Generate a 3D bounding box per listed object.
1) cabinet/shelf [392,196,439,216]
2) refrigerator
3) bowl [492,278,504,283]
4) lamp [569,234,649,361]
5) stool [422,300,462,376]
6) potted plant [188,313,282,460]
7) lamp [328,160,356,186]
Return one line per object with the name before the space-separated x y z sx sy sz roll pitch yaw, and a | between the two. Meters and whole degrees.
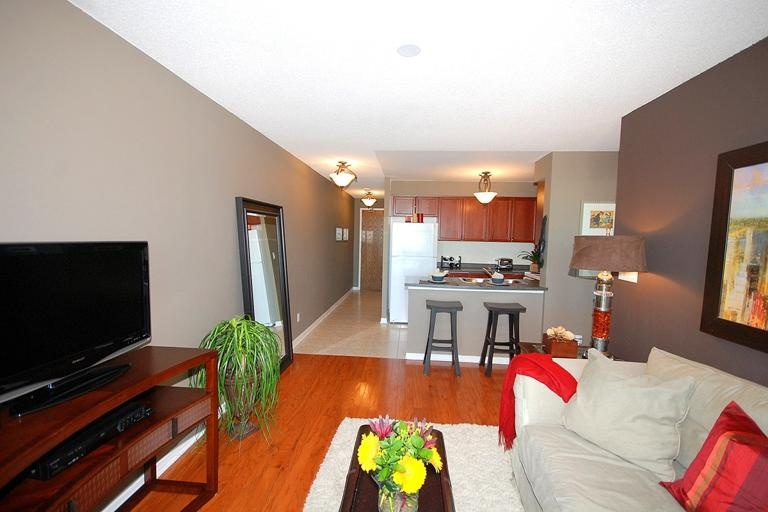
cabinet/shelf | 0.521 -0.843 7.994 0.777 0.314 0.137 0 3 -5
refrigerator | 0.428 0.266 7.302 0.736 1.552 0.273 0 3 1
bowl | 1.385 0.302 5.818 0.122 0.067 0.098 0 2 1
lamp | 1.974 0.322 4.191 0.570 1.011 0.768 1 3 28
stool | 0.667 0.903 5.440 0.413 0.796 0.560 0 2 7
potted plant | -1.156 1.020 4.058 0.969 1.160 0.918 1 3 -10
lamp | -0.513 -1.119 6.288 0.366 0.323 0.374 -3 -5 42
